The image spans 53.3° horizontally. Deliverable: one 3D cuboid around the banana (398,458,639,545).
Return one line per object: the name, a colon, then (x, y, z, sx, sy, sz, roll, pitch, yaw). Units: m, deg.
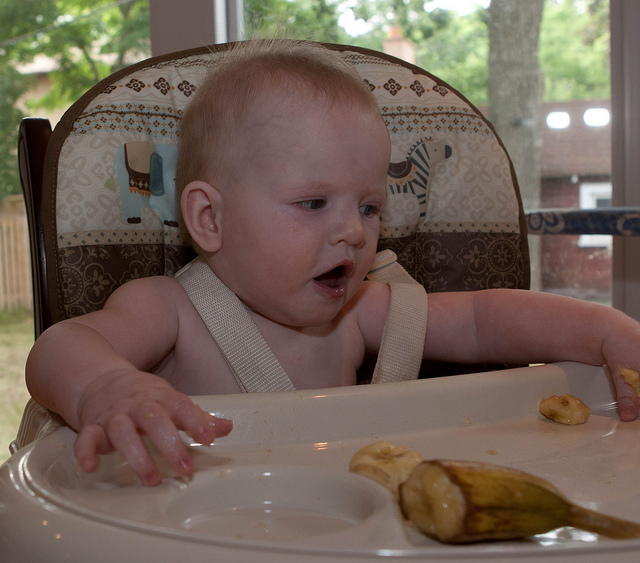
banana: (0.154, 0.166, 0.494, 0.178, 0.058, 0.069, 7, -9, -12)

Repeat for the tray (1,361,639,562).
tray: (0.018, 0.147, 0.573, 0.396, 0.071, 0.268, -1, 0, -1)

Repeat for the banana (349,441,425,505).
banana: (0.060, 0.172, 0.590, 0.035, 0.022, 0.051, 3, 15, -3)

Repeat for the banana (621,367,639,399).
banana: (0.378, 0.124, 0.778, 0.019, 0.007, 0.032, -19, 27, -4)
